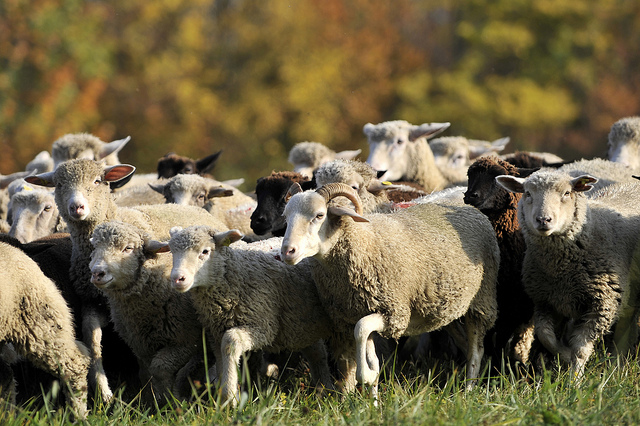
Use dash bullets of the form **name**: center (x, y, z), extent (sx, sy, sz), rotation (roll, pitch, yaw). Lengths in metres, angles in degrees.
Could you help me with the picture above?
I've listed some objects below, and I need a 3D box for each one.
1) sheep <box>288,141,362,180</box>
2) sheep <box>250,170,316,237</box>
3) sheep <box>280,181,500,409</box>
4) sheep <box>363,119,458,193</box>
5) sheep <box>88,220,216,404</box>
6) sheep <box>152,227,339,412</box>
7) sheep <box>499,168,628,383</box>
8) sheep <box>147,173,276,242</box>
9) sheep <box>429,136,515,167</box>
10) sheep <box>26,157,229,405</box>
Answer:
- **sheep**: center (0.000, -0.771, 13.667), extent (0.776, 0.389, 0.857), rotation (5, 1, 27)
- **sheep**: center (-0.427, -0.119, 11.338), extent (0.718, 0.429, 0.807), rotation (4, 9, 34)
- **sheep**: center (0.693, 0.915, 10.376), extent (3.286, 2.290, 1.616), rotation (1, -5, -44)
- **sheep**: center (1.388, -0.817, 13.899), extent (1.457, 0.998, 0.850), rotation (13, -32, -37)
- **sheep**: center (-1.838, 1.165, 10.764), extent (1.174, 1.955, 2.822), rotation (-4, -6, 14)
- **sheep**: center (-0.803, 1.137, 10.275), extent (1.188, 1.774, 2.596), rotation (-6, -10, 35)
- **sheep**: center (2.609, 0.632, 9.923), extent (0.926, 2.106, 0.756), rotation (-5, -11, 24)
- **sheep**: center (-1.339, -0.177, 12.129), extent (0.831, 0.786, 1.698), rotation (-7, -26, 43)
- **sheep**: center (2.245, -0.922, 14.743), extent (0.886, 0.380, 0.910), rotation (3, -1, 29)
- **sheep**: center (-2.410, 0.997, 11.657), extent (1.181, 2.290, 3.734), rotation (-12, -18, 6)
